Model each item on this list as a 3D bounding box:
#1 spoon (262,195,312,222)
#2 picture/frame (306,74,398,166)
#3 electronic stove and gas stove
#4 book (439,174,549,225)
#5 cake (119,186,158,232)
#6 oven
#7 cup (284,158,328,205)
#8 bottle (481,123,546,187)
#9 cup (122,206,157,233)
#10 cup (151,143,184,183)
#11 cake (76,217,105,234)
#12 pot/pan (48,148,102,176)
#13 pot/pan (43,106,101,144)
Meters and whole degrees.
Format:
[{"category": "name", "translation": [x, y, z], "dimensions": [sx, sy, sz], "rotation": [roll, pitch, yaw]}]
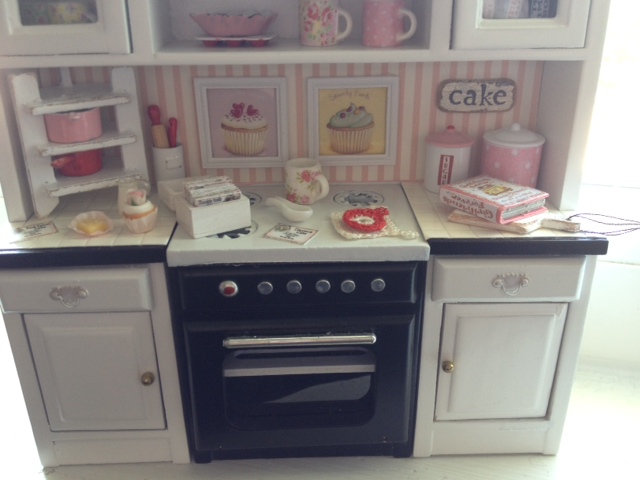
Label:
[{"category": "spoon", "translation": [-0.117, -0.105, 1.914], "dimensions": [0.179, 0.057, 0.070], "rotation": [21, 53, 31]}, {"category": "picture/frame", "translation": [0.119, -0.477, 2.054], "dimensions": [0.399, 0.373, 0.031], "rotation": [-1, 22, -1]}, {"category": "electronic stove and gas stove", "translation": [-0.076, -0.069, 1.926], "dimensions": [0.840, 0.084, 0.541], "rotation": [-2, 26, -1]}, {"category": "book", "translation": [0.563, -0.141, 1.813], "dimensions": [0.221, 0.049, 0.218], "rotation": [-19, 30, -35]}, {"category": "cake", "translation": [-0.582, -0.109, 1.822], "dimensions": [0.137, 0.145, 0.151], "rotation": [2, 21, 1]}, {"category": "oven", "translation": [-0.077, 0.527, 2.025], "dimensions": [0.779, 0.535, 0.504], "rotation": [-1, 1, -4]}, {"category": "cup", "translation": [-0.073, -0.232, 2.005], "dimensions": [0.133, 0.137, 0.199], "rotation": [-11, 28, -22]}, {"category": "bottle", "translation": [0.674, -0.319, 2.021], "dimensions": [0.248, 0.253, 0.237], "rotation": [4, 30, 9]}, {"category": "cup", "translation": [-0.601, -0.059, 1.752], "dimensions": [0.087, 0.055, 0.093], "rotation": [2, 25, -1]}, {"category": "cup", "translation": [-0.548, -0.296, 2.041], "dimensions": [0.135, 0.144, 0.129], "rotation": [1, 31, -1]}, {"category": "cake", "translation": [-0.758, -0.043, 1.765], "dimensions": [0.091, 0.036, 0.065], "rotation": [-12, 29, -21]}, {"category": "pot/pan", "translation": [-0.879, -0.276, 1.906], "dimensions": [0.089, 0.058, 0.149], "rotation": [14, 29, 21]}, {"category": "pot/pan", "translation": [-0.842, -0.388, 1.818], "dimensions": [0.145, 0.086, 0.141], "rotation": [-6, 28, -15]}]
